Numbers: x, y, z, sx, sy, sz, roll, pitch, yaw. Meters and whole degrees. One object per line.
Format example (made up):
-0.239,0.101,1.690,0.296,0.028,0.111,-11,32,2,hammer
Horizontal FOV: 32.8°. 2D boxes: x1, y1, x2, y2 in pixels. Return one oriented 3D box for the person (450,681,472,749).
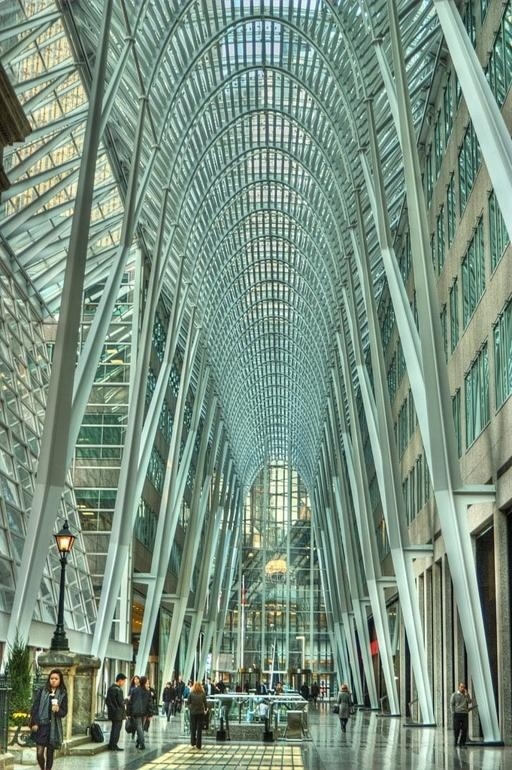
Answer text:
3.430,5.539,14.543,0.236,0.984,0.306,-8,-40,23,person
